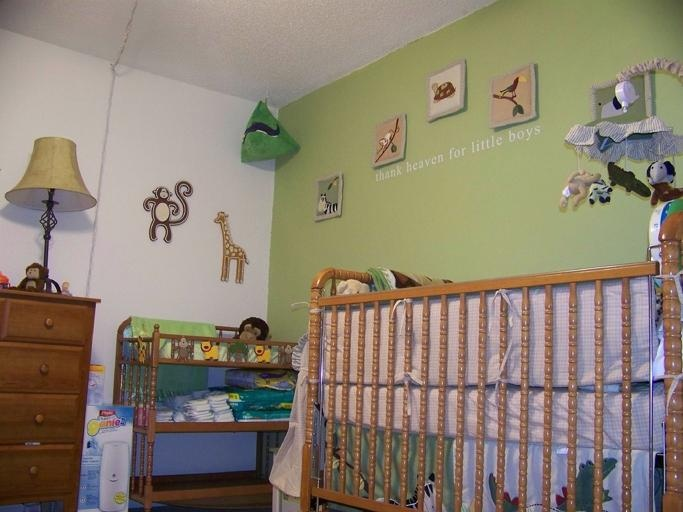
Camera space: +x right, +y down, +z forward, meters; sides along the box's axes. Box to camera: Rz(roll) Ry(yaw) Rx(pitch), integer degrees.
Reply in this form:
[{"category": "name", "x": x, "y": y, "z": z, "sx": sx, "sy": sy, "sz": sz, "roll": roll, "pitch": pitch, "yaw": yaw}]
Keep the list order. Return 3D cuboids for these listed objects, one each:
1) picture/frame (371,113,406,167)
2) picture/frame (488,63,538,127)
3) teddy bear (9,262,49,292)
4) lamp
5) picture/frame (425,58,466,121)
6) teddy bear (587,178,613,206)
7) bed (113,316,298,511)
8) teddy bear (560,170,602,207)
[{"category": "picture/frame", "x": 0.320, "y": -0.772, "z": 4.429, "sx": 0.055, "sy": 0.430, "sz": 0.365, "roll": 5, "pitch": -6, "yaw": -37}, {"category": "picture/frame", "x": 0.988, "y": -0.915, "z": 3.771, "sx": 0.040, "sy": 0.392, "sz": 0.357, "roll": 10, "pitch": -13, "yaw": -41}, {"category": "teddy bear", "x": -1.800, "y": 0.136, "z": 3.848, "sx": 0.160, "sy": 0.223, "sz": 0.170, "roll": 4, "pitch": -3, "yaw": 6}, {"category": "lamp", "x": -1.868, "y": -0.281, "z": 4.206, "sx": 0.540, "sy": 1.045, "sz": 0.611, "roll": 1, "pitch": -8, "yaw": -23}, {"category": "picture/frame", "x": 0.656, "y": -1.034, "z": 4.114, "sx": 0.032, "sy": 0.388, "sz": 0.363, "roll": 13, "pitch": -20, "yaw": -37}, {"category": "teddy bear", "x": 1.323, "y": -0.328, "z": 3.380, "sx": 0.090, "sy": 0.130, "sz": 0.046, "roll": -6, "pitch": -4, "yaw": 36}, {"category": "bed", "x": -0.928, "y": 1.033, "z": 4.285, "sx": 1.161, "sy": 1.087, "sz": 0.643, "roll": 3, "pitch": -3, "yaw": -43}, {"category": "teddy bear", "x": 1.234, "y": -0.353, "z": 3.443, "sx": 0.192, "sy": 0.153, "sz": 0.061, "roll": -35, "pitch": -32, "yaw": 26}]
